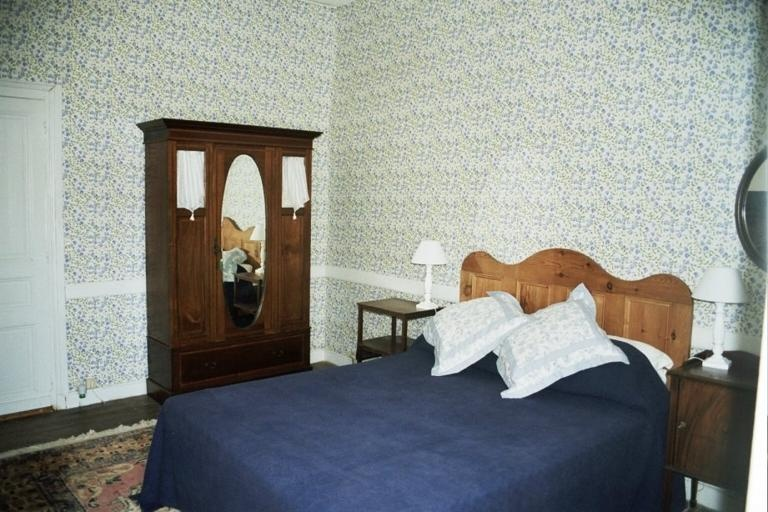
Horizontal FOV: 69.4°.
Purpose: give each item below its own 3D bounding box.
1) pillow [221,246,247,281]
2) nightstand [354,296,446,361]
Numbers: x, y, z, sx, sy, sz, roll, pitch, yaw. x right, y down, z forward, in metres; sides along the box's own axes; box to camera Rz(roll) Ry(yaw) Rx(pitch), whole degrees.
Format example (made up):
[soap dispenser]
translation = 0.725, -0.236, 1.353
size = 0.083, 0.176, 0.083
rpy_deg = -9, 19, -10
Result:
[pillow]
translation = -1.483, 0.082, 5.426
size = 0.249, 0.285, 0.073
rpy_deg = 18, -6, -40
[nightstand]
translation = 0.116, 0.686, 5.503
size = 0.615, 0.798, 0.788
rpy_deg = -2, 6, -38
